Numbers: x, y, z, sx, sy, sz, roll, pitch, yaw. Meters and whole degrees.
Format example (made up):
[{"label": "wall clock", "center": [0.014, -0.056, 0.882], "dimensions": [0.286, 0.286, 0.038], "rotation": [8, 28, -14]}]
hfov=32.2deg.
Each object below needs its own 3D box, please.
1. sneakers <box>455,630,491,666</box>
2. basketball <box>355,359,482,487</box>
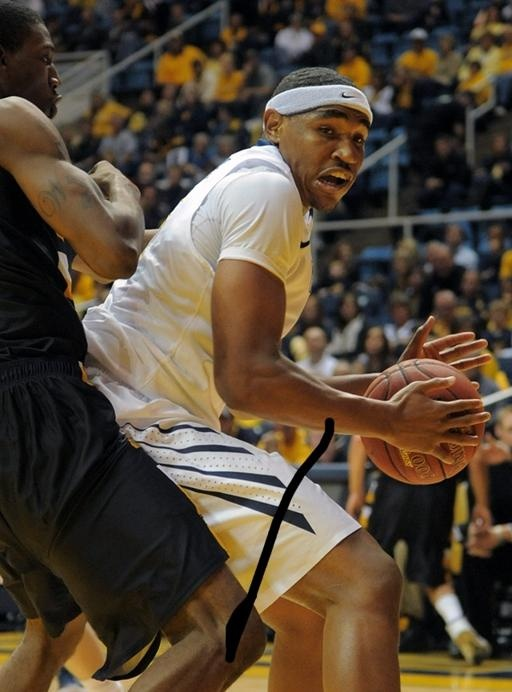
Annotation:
[{"label": "sneakers", "center": [1.205, 1.702, 4.976], "dimensions": [0.183, 0.153, 0.132], "rotation": [36, 75, 27]}, {"label": "basketball", "center": [0.373, 0.185, 2.189], "dimensions": [0.368, 0.322, 0.318], "rotation": [4, 8, -1]}]
